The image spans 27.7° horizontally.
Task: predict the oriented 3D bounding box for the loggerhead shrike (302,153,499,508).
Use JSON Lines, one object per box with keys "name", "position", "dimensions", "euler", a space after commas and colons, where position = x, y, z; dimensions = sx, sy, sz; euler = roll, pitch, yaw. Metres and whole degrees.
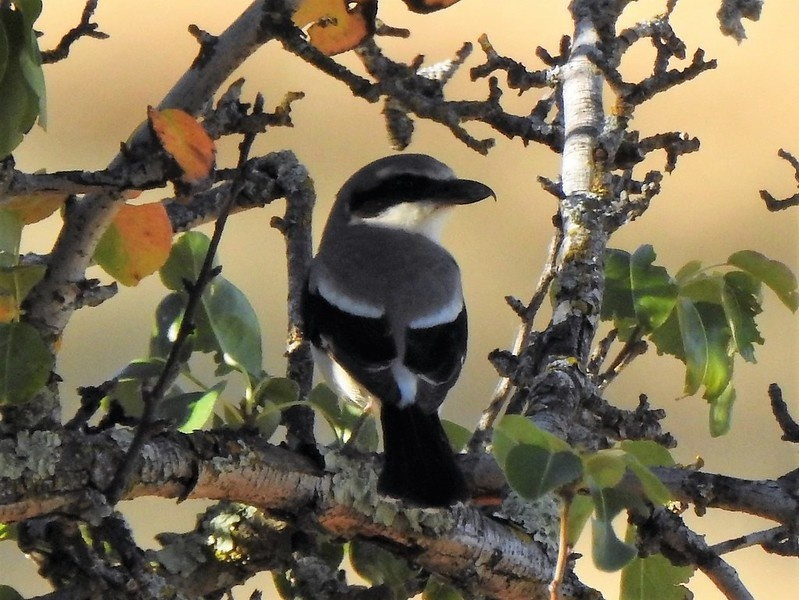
{"name": "loggerhead shrike", "position": [-0.005, 0.067, 3.919], "dimensions": [0.406, 1.112, 0.755], "euler": [7, -78, -6]}
